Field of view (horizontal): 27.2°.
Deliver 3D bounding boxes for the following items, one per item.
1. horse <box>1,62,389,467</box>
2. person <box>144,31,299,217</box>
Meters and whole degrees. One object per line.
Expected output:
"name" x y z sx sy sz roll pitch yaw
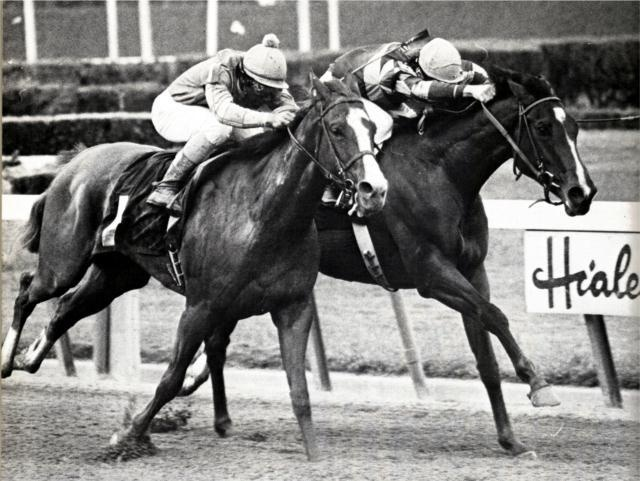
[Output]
"horse" -0.755 0.149 8.235 2.543 2.428 0.906 13 21 41
"person" -0.539 -0.763 8.245 1.213 0.975 0.837 19 17 42
